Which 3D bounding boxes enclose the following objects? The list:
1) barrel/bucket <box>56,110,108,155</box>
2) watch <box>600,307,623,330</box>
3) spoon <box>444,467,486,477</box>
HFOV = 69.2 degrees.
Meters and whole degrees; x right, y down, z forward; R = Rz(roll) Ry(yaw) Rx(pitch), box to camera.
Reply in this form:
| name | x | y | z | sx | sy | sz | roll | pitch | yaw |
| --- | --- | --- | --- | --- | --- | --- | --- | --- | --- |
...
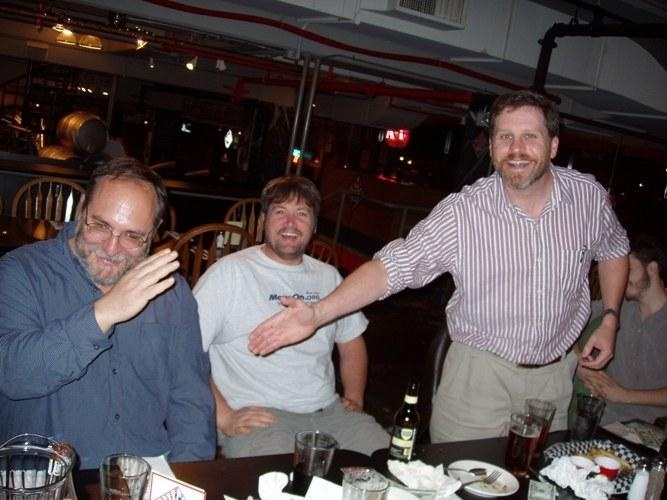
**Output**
| name | x | y | z | sx | sy | sz | roll | pitch | yaw |
| --- | --- | --- | --- | --- | --- | --- | --- | --- | --- |
| barrel/bucket | -4.107 | -1.922 | 7.960 | 0.805 | 0.653 | 0.703 | 18 | 14 | 31 |
| watch | 1.262 | 0.314 | 2.221 | 0.083 | 0.096 | 0.082 | -3 | -18 | 17 |
| spoon | 0.405 | 0.688 | 1.502 | 0.162 | 0.028 | 0.026 | 3 | -22 | -14 |
